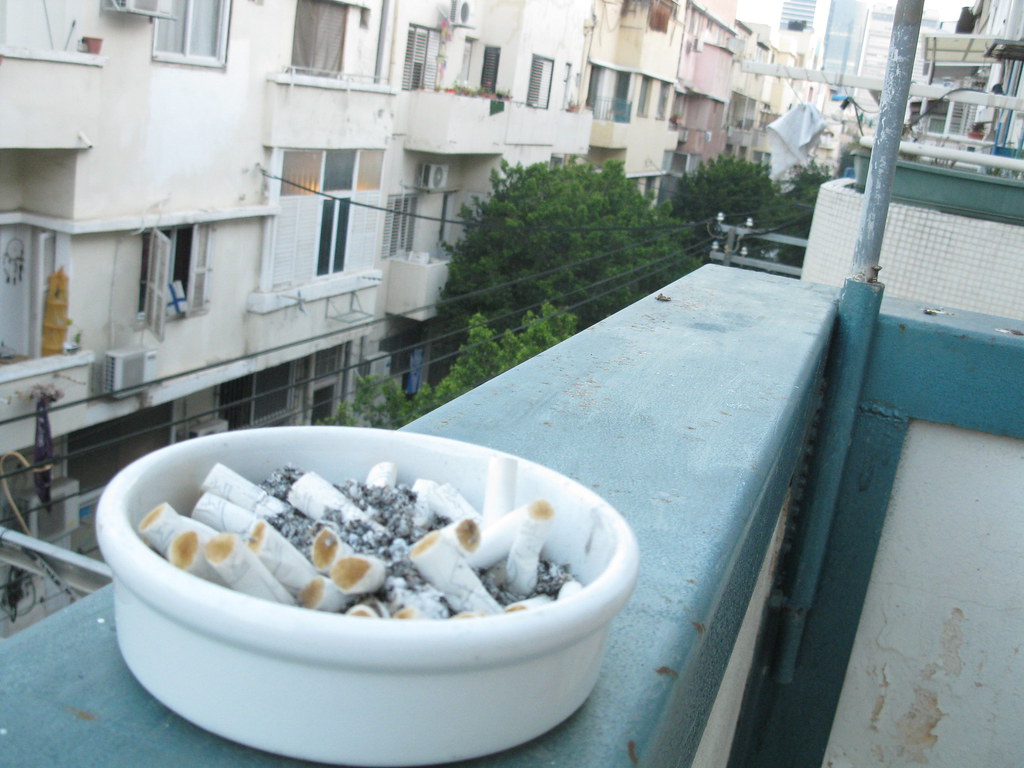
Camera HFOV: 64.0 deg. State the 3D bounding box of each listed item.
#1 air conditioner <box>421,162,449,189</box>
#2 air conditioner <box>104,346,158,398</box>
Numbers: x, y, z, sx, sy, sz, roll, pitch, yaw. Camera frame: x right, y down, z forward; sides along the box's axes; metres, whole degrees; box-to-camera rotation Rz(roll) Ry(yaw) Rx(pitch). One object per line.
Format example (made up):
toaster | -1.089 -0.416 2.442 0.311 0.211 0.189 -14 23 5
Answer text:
air conditioner | -1.839 -4.894 19.305 0.239 0.470 0.727 5 14 19
air conditioner | -5.197 -0.164 11.275 0.346 0.659 0.706 15 18 40
